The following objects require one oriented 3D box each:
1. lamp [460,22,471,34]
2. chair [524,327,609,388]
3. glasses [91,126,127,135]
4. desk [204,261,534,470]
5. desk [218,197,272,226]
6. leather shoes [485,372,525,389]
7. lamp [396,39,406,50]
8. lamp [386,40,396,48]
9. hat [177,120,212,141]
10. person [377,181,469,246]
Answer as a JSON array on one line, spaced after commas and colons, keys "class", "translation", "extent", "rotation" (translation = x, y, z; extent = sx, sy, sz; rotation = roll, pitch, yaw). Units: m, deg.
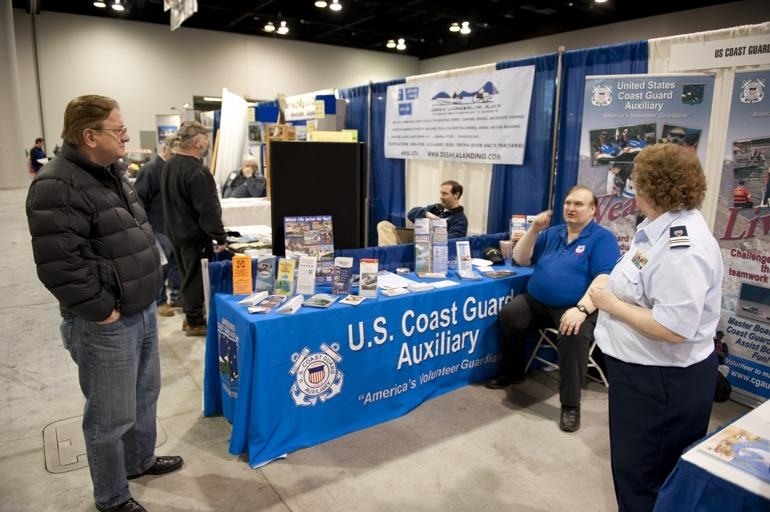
[{"class": "lamp", "translation": [1.702, -4.849, 10.936], "extent": [0.250, 0.250, 0.259], "rotation": [4, 13, 18]}, {"class": "chair", "translation": [1.522, 0.809, 4.241], "extent": [0.608, 0.471, 0.486], "rotation": [8, 0, -30]}, {"class": "glasses", "translation": [-1.470, -0.687, 2.813], "extent": [0.110, 0.040, 0.216], "rotation": [2, 14, 7]}, {"class": "desk", "translation": [0.076, 0.629, 4.153], "extent": [2.809, 0.981, 0.861], "rotation": [-8, 19, -33]}, {"class": "desk", "translation": [-1.729, -0.540, 6.341], "extent": [0.509, 0.322, 0.488], "rotation": [-2, 9, -25]}, {"class": "leather shoes", "translation": [0.968, 1.001, 4.203], "extent": [0.335, 0.147, 0.113], "rotation": [2, 5, -26]}, {"class": "lamp", "translation": [0.424, -5.450, 13.205], "extent": [0.252, 0.255, 0.259], "rotation": [1, 10, 5]}, {"class": "lamp", "translation": [0.205, -5.577, 13.489], "extent": [0.296, 0.191, 0.293], "rotation": [-13, 20, -32]}, {"class": "hat", "translation": [-1.661, -1.103, 4.490], "extent": [0.236, 0.142, 0.164], "rotation": [-23, 37, -33]}, {"class": "person", "translation": [0.392, -0.415, 5.260], "extent": [0.733, 0.971, 0.686], "rotation": [3, 19, -2]}]
